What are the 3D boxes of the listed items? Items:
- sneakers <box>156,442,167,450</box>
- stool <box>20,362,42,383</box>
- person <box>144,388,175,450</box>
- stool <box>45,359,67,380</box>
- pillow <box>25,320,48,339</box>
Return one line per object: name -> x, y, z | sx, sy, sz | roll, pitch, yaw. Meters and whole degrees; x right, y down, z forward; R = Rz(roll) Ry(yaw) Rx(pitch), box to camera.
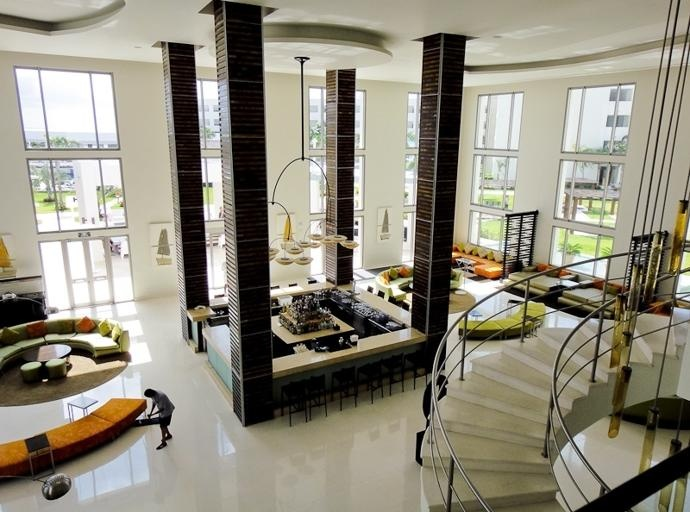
sneakers -> -3.589, 3.719, 9.573 | 0.095, 0.068, 0.175 | 13, 14, 35
stool -> -7.365, 2.733, 11.548 | 0.421, 0.456, 0.248 | -6, 14, -20
person -> -3.707, 3.214, 9.841 | 0.467, 1.231, 0.436 | -6, 9, -8
stool -> -6.881, 2.684, 11.864 | 0.508, 0.431, 0.499 | 0, 18, -6
pillow -> -8.210, 1.974, 13.048 | 0.413, 0.413, 0.145 | -5, 5, -30
